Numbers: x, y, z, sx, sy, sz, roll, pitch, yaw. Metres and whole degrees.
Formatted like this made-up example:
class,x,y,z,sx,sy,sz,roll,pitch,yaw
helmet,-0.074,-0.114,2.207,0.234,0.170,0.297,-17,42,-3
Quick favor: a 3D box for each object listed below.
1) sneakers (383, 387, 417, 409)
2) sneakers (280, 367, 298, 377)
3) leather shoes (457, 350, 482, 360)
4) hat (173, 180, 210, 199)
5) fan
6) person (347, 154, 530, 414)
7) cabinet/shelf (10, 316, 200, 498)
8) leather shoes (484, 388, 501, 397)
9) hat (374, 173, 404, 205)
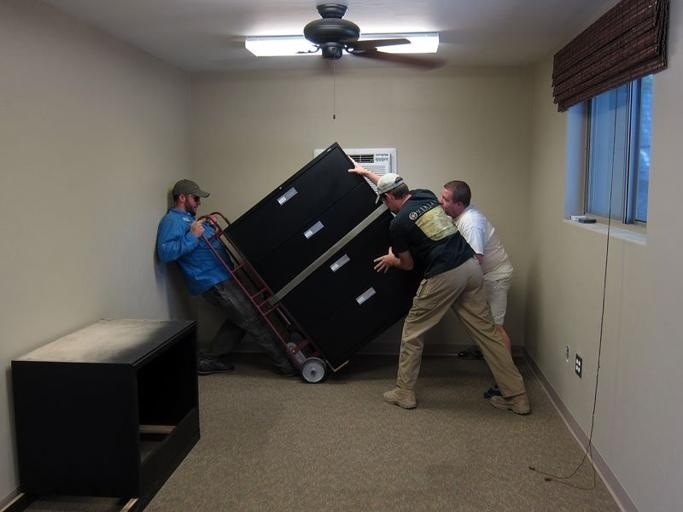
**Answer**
class,x,y,z,sx,sy,sz,roll,pitch,yaw
sneakers,0.448,1.060,3.777,0.257,0.129,0.116,11,15,40
sneakers,-0.454,0.997,4.272,0.152,0.095,0.104,2,-15,11
leather shoes,1.210,0.912,4.683,0.150,0.066,0.096,4,0,4
hat,-1.331,-0.584,4.362,0.247,0.143,0.168,-3,7,-12
fan,0.135,-1.189,2.708,0.674,0.310,0.433,0,9,-3
person,0.821,0.320,3.662,0.983,1.593,0.303,1,9,6
cabinet/shelf,-1.363,0.909,3.021,0.734,0.835,0.875,2,10,12
leather shoes,1.166,1.061,3.849,0.150,0.067,0.052,0,-1,-25
hat,0.343,-0.504,3.740,0.148,0.120,0.211,-33,9,-31
